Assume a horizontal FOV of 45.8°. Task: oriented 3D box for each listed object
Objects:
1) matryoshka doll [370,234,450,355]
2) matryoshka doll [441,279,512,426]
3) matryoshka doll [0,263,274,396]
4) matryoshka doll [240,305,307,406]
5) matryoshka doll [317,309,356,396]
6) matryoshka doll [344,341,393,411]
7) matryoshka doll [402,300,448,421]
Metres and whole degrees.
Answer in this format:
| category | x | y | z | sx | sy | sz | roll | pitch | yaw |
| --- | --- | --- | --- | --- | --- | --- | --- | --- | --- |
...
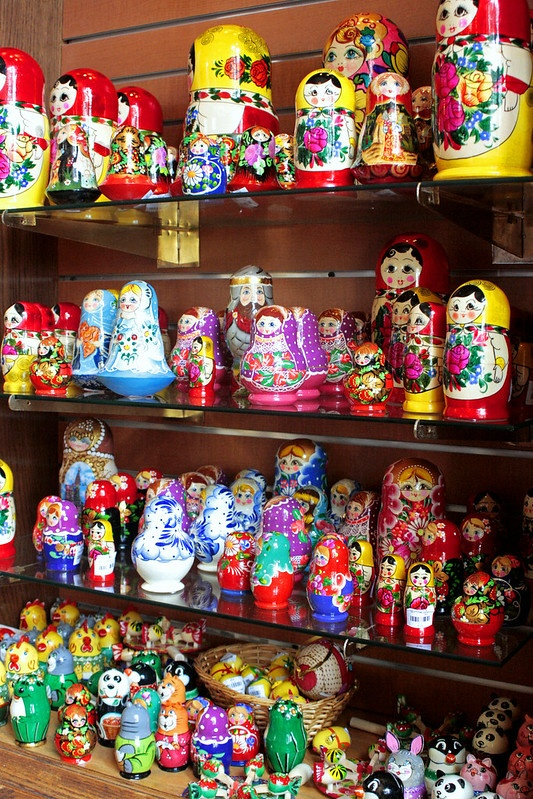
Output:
| category | x | y | z | sx | sy | sz | roll | pitch | yaw |
| --- | --- | --- | --- | --- | --- | --- | --- | --- | --- |
| matryoshka doll | 0.195 | -0.143 | 0.867 | 0.094 | 0.161 | 0.093 | -12 | 14 | -40 |
| matryoshka doll | 0.239 | -0.057 | 0.721 | 0.075 | 0.156 | 0.116 | -1 | 8 | 19 |
| matryoshka doll | -0.300 | -0.111 | 1.099 | 0.656 | 0.261 | 0.177 | -1 | 6 | 18 |
| matryoshka doll | -0.008 | -0.060 | 0.870 | 0.075 | 0.134 | 0.139 | -9 | 10 | -34 |
| matryoshka doll | 0.103 | -0.075 | 0.941 | 0.073 | 0.128 | 0.073 | -12 | 12 | -43 |
| matryoshka doll | 0.130 | -0.029 | 0.809 | 0.060 | 0.090 | 0.062 | -1 | 8 | 31 |
| matryoshka doll | 0.192 | -0.053 | 0.749 | 0.053 | 0.139 | 0.051 | -4 | 8 | 0 |
